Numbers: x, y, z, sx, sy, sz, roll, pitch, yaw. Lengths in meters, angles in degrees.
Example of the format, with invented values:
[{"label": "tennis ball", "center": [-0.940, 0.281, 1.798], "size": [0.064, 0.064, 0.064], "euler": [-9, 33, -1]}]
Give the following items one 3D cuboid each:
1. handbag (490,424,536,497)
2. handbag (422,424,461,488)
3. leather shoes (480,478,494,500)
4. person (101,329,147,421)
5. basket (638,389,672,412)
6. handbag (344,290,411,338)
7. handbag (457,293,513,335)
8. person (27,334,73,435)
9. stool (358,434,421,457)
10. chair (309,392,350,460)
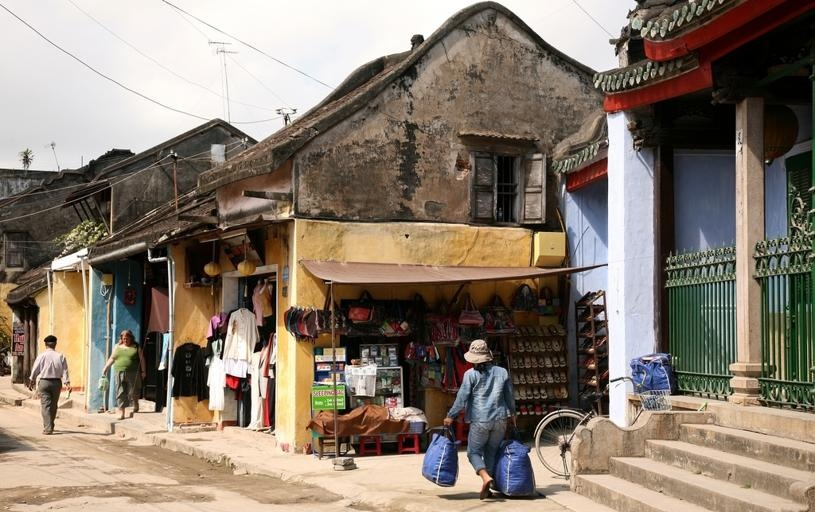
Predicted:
[{"label": "handbag", "center": [1.954, 3.885, 19.402], "size": [0.712, 1.013, 0.269], "euler": [-1, -11, 8]}, {"label": "handbag", "center": [0.624, 3.671, 19.499], "size": [0.631, 1.049, 0.311], "euler": [1, -11, 0]}, {"label": "leather shoes", "center": [1.455, 4.240, 19.320], "size": [0.196, 0.389, 0.153], "euler": [8, 8, -23]}, {"label": "person", "center": [-7.523, 3.067, 27.942], "size": [1.027, 2.456, 1.090], "euler": [1, -4, -3]}, {"label": "basket", "center": [4.699, 2.710, 19.879], "size": [0.435, 0.266, 0.380], "euler": [-5, -9, 24]}, {"label": "handbag", "center": [-0.678, 1.335, 23.314], "size": [1.534, 0.817, 0.259], "euler": [5, -11, -20]}, {"label": "handbag", "center": [1.795, 1.301, 23.974], "size": [1.315, 0.874, 0.293], "euler": [7, -12, -27]}, {"label": "person", "center": [-8.918, 3.136, 26.518], "size": [1.034, 2.641, 1.146], "euler": [0, -2, -13]}, {"label": "stool", "center": [-0.383, 4.041, 22.823], "size": [1.357, 0.483, 0.681], "euler": [1, -11, -1]}, {"label": "chair", "center": [-1.638, 3.488, 22.611], "size": [0.770, 1.391, 0.835], "euler": [1, 0, -4]}]
